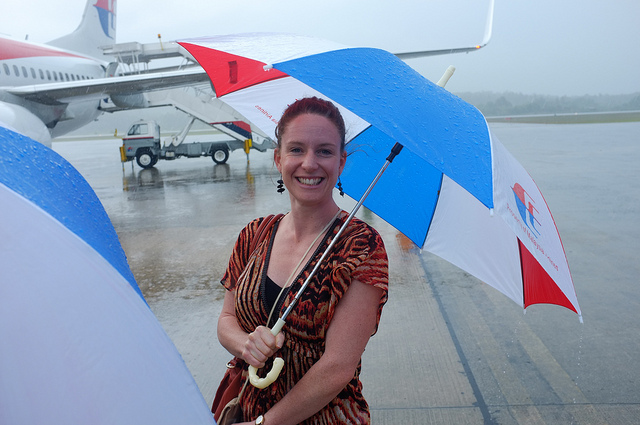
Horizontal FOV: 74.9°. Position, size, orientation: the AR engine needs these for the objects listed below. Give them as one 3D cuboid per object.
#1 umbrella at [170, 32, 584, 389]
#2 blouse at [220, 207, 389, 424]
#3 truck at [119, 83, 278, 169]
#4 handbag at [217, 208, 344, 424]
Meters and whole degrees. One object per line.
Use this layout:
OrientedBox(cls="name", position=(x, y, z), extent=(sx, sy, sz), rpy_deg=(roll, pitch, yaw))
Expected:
OrientedBox(cls="umbrella", position=(0.543, 0.040, 2.386), extent=(1.600, 1.408, 1.674), rpy_deg=(7, 20, -29))
OrientedBox(cls="blouse", position=(-0.080, 0.496, 1.788), extent=(0.726, 0.943, 0.440), rpy_deg=(-1, 14, 8))
OrientedBox(cls="truck", position=(-6.056, -4.639, 21.686), extent=(7.714, 4.547, 2.622), rpy_deg=(-3, 7, 1))
OrientedBox(cls="handbag", position=(-0.146, 0.435, 1.697), extent=(0.133, 0.984, 0.061), rpy_deg=(29, 5, 24))
